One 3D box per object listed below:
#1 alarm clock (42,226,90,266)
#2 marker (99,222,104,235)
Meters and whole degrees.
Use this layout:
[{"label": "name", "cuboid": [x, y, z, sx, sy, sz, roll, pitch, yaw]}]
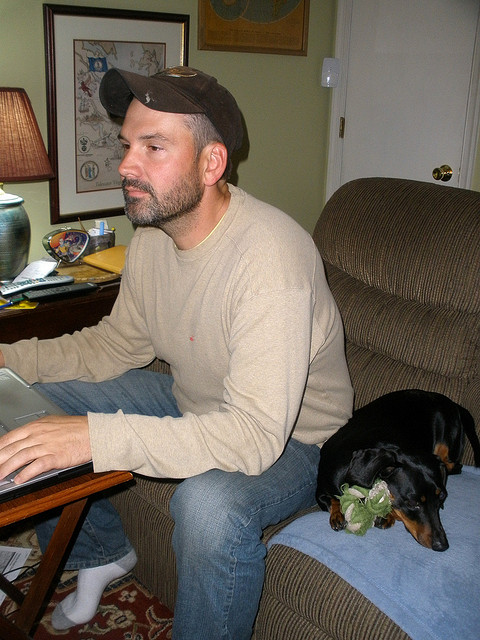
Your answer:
[{"label": "alarm clock", "cuboid": [-0.669, -0.295, 1.951, 0.150, 0.145, 0.135, 16, 24, 22]}, {"label": "marker", "cuboid": [-0.589, -0.391, 2.122, 0.020, 0.048, 0.026, -4, 18, -8]}]
